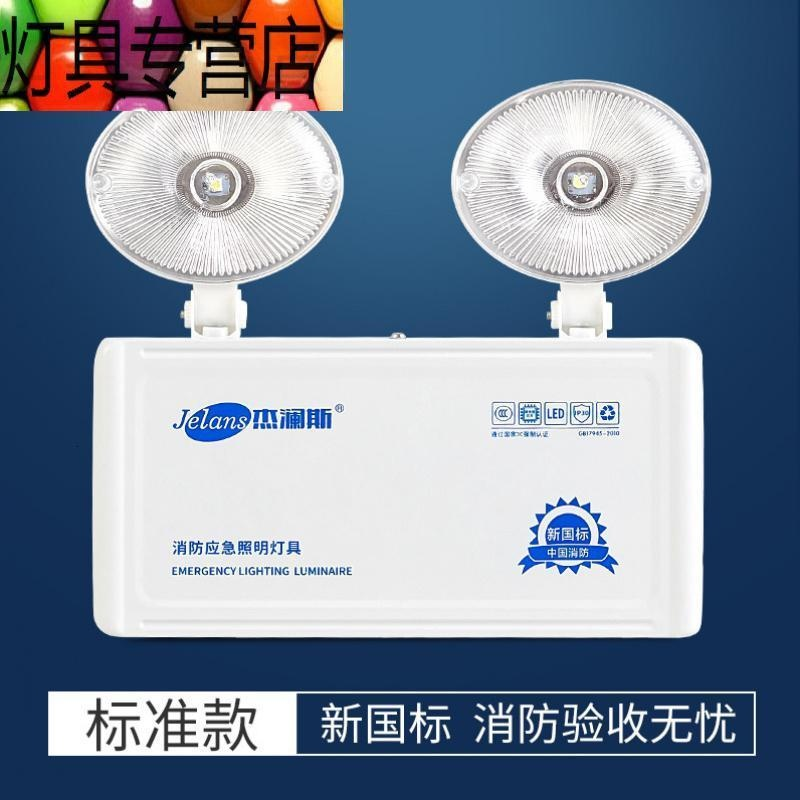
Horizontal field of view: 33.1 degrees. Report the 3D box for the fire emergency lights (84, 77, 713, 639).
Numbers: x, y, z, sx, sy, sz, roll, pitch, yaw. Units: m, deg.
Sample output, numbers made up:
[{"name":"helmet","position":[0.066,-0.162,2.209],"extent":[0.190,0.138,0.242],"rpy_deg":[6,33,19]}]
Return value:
[{"name":"fire emergency lights","position":[0.008,-0.061,2.182],"extent":[1.004,0.191,0.827],"rpy_deg":[0,90,1]}]
